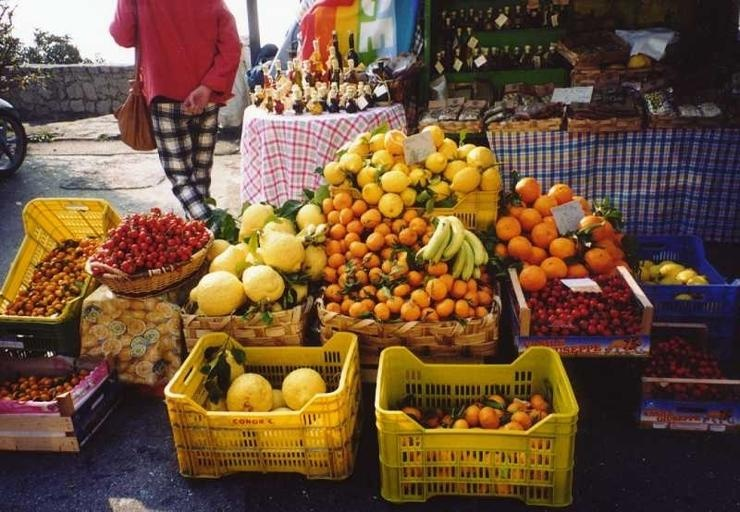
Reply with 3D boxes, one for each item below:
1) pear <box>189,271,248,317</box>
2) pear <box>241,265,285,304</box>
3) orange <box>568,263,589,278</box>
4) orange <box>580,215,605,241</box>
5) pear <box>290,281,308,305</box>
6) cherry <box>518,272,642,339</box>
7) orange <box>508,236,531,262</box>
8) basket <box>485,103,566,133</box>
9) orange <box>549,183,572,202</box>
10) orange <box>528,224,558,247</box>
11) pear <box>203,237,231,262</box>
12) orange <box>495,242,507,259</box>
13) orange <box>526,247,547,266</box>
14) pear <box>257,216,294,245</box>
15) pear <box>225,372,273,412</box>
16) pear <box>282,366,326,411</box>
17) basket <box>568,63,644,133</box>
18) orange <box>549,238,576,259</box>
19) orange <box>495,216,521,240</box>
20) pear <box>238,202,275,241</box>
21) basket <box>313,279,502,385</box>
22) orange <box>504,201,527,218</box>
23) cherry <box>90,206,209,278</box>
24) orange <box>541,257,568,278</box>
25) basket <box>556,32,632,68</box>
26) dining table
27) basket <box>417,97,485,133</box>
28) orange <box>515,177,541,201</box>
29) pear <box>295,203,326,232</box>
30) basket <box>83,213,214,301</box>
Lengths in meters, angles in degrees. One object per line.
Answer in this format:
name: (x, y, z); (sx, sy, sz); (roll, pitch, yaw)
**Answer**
pear: (-0.962, 0.224, 3.588); (0.334, 0.267, 0.252); (-9, 6, -11)
pear: (-0.657, 0.175, 3.583); (0.278, 0.218, 0.210); (-8, 15, 33)
orange: (1.321, 0.090, 3.620); (0.106, 0.083, 0.081); (11, 5, 30)
orange: (1.459, -0.200, 3.769); (0.158, 0.188, 0.160); (5, 29, 16)
pear: (-0.485, 0.237, 3.692); (0.131, 0.157, 0.132); (-5, 3, -14)
cherry: (1.266, 0.294, 3.418); (0.636, 0.273, 0.303); (-2, 19, 5)
orange: (0.966, -0.050, 3.754); (0.144, 0.148, 0.154); (-7, 31, -8)
basket: (1.531, -1.321, 5.500); (0.653, 0.285, 0.546); (7, 22, 19)
orange: (1.319, -0.447, 3.982); (0.138, 0.138, 0.137); (-13, 28, 2)
orange: (1.126, -0.143, 3.782); (0.153, 0.153, 0.152); (-19, 45, -15)
pear: (-1.041, -0.054, 3.890); (0.147, 0.172, 0.145); (10, 23, -16)
orange: (0.857, -0.032, 3.734); (0.081, 0.081, 0.097); (-9, 60, -7)
orange: (1.081, 0.000, 3.756); (0.108, 0.125, 0.113); (19, 26, 21)
pear: (-0.613, -0.172, 3.711); (0.215, 0.132, 0.165); (-24, 32, -4)
pear: (-0.693, 0.809, 3.242); (0.271, 0.221, 0.183); (-8, 19, -12)
pear: (-0.389, 0.774, 3.316); (0.270, 0.223, 0.209); (14, 26, 41)
basket: (2.230, -1.437, 5.178); (0.808, 0.235, 0.817); (-1, 52, 15)
orange: (1.237, -0.058, 3.684); (0.151, 0.118, 0.120); (8, 24, 29)
orange: (0.920, -0.184, 3.786); (0.175, 0.141, 0.165); (1, 20, 14)
pear: (-0.814, -0.254, 3.967); (0.292, 0.221, 0.219); (-31, 10, -8)
basket: (0.386, 0.389, 3.846); (0.936, 0.436, 0.532); (1, 24, 7)
orange: (0.973, -0.312, 3.918); (0.132, 0.147, 0.121); (4, -12, -40)
cherry: (-1.372, -0.096, 3.564); (0.731, 0.334, 0.249); (-11, 21, -22)
orange: (1.161, 0.074, 3.581); (0.136, 0.136, 0.132); (-15, 28, -10)
basket: (2.248, -2.097, 5.757); (0.488, 0.155, 0.486); (-23, 38, -18)
dining table: (-0.350, -0.929, 5.271); (1.564, 0.843, 1.581); (2, 15, 10)
basket: (0.872, -1.441, 5.823); (0.765, 0.229, 0.768); (1, 47, 11)
orange: (1.089, -0.444, 3.927); (0.171, 0.164, 0.143); (1, 20, 14)
pear: (-0.407, -0.253, 3.857); (0.181, 0.209, 0.174); (1, -3, 5)
basket: (-1.363, -0.013, 3.658); (0.692, 0.529, 0.619); (11, 22, -1)
